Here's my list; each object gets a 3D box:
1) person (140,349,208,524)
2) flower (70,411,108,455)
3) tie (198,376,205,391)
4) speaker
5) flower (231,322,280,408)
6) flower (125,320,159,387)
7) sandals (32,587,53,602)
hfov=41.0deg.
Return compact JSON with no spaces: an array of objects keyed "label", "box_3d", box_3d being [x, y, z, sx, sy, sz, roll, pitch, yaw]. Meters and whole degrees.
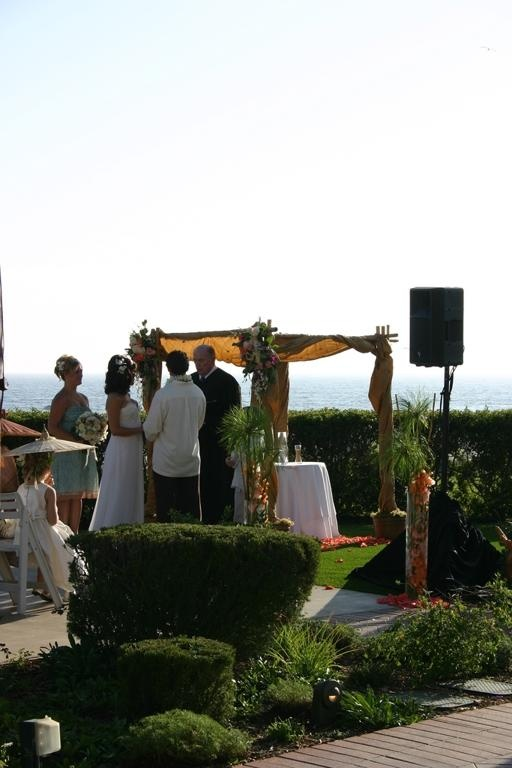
[{"label":"person","box_3d":[-0.709,0.449,5.942,0.363,1.451,0.597,1,2,39]},{"label":"flower","box_3d":[-1.606,0.443,6.680,0.328,0.342,0.332,16,-5,41]},{"label":"tie","box_3d":[-0.572,-0.004,7.158,0.092,0.134,0.042,-4,-7,6]},{"label":"speaker","box_3d":[1.913,-0.609,7.248,0.572,0.855,0.421,0,1,14]},{"label":"flower","box_3d":[0.011,-0.229,7.114,0.430,0.909,1.245,0,1,0]},{"label":"flower","box_3d":[-1.470,-0.398,9.128,0.362,0.710,0.508,-20,7,-1]},{"label":"sandals","box_3d":[-1.641,1.576,5.135,0.088,0.106,0.258,3,-13,23]}]
